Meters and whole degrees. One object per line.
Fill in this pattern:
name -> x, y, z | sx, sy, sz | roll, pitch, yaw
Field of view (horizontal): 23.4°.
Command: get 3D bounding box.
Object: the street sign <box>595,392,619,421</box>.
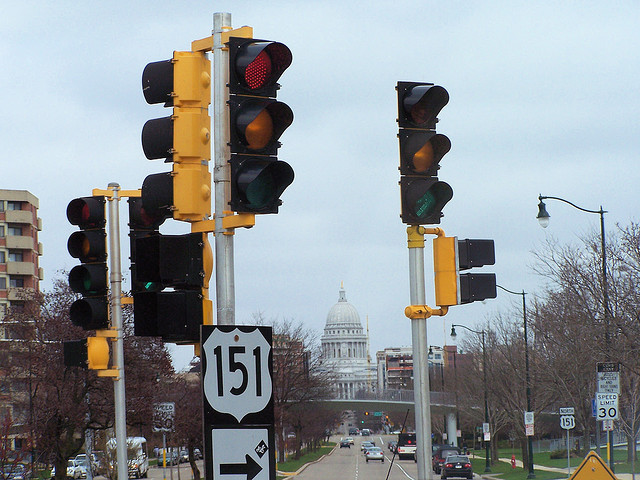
street sign -> 14.181, 8.098, 76.470 | 1.225, 1.640, 0.505 | 1, -1, 5

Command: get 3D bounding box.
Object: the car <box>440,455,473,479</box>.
car -> 8.921, 14.803, 101.778 | 1.701, 1.684, 4.314 | 0, -2, 2

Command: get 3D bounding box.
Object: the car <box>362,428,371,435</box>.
car -> 8.443, 34.514, 278.498 | 1.488, 1.563, 2.656 | 1, 3, 0

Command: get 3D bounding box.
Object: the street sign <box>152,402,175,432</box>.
street sign -> -8.142, 8.841, 78.244 | 0.344, 1.570, 1.525 | -1, -6, 29

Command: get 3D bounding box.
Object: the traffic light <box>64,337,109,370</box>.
traffic light -> -9.285, 4.435, 61.537 | 1.712, 1.182, 0.573 | -2, -9, -11
